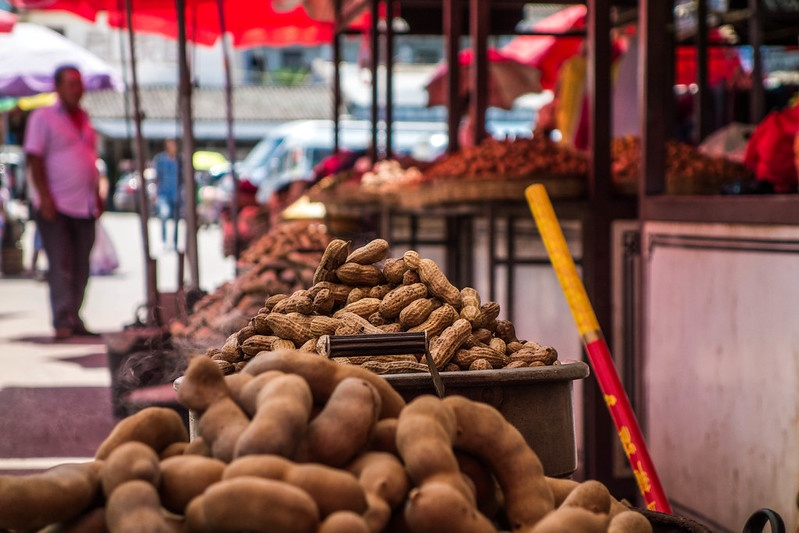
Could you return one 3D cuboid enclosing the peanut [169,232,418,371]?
[{"bbox_3d":[-0.348,0.163,5.467,0.599,0.269,0.846,-4,35,24],"label":"peanut"}]

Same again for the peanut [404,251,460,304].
[{"bbox_3d":[0.188,0.058,6.326,0.106,0.351,0.133,-31,-18,-33],"label":"peanut"}]

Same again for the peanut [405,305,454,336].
[{"bbox_3d":[0.147,0.266,5.443,0.239,0.107,0.087,-36,15,-4],"label":"peanut"}]

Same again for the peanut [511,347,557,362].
[{"bbox_3d":[0.646,0.421,5.376,0.151,0.077,0.097,-2,2,17],"label":"peanut"}]

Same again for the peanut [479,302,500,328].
[{"bbox_3d":[0.428,0.241,5.539,0.131,0.080,0.045,-47,11,-20],"label":"peanut"}]

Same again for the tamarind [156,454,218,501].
[{"bbox_3d":[-0.866,0.860,4.599,0.185,0.126,0.159,0,2,1],"label":"tamarind"}]

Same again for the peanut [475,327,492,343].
[{"bbox_3d":[0.403,0.335,5.447,0.073,0.064,0.043,6,-1,-17],"label":"peanut"}]
